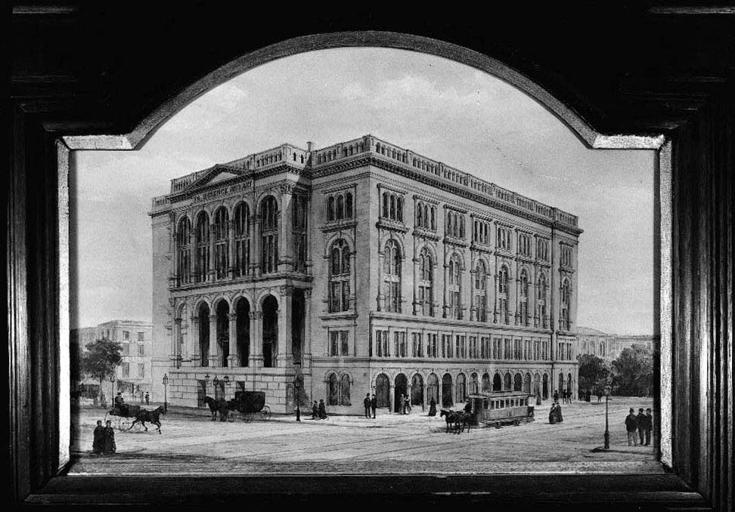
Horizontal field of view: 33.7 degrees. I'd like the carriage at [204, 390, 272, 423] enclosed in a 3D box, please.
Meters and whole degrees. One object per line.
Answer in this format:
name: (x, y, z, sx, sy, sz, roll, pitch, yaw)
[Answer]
carriage: (-2.111, 2.454, 19.910, 1.052, 0.424, 0.462, 8, -16, -31)
